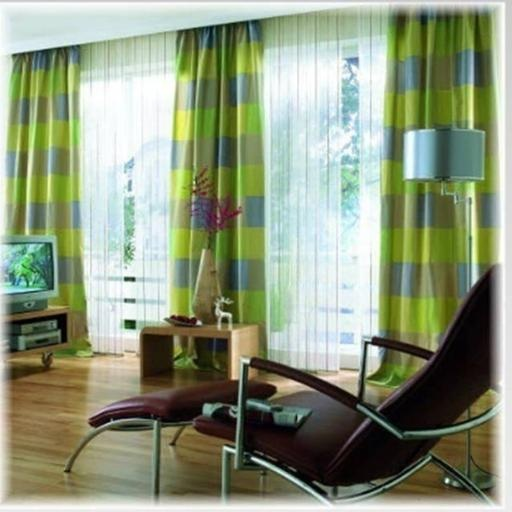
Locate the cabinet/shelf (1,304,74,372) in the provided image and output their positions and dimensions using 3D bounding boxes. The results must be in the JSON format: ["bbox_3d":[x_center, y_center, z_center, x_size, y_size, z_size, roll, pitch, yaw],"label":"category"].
[{"bbox_3d":[-1.766,0.615,4.201,0.134,0.352,0.588,0,0,25],"label":"cabinet/shelf"}]

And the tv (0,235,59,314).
[{"bbox_3d":[-1.819,0.145,4.124,0.300,0.644,0.605,-2,-1,29],"label":"tv"}]

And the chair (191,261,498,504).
[{"bbox_3d":[0.347,0.306,1.823,0.912,0.856,0.686,0,-1,35],"label":"chair"}]
